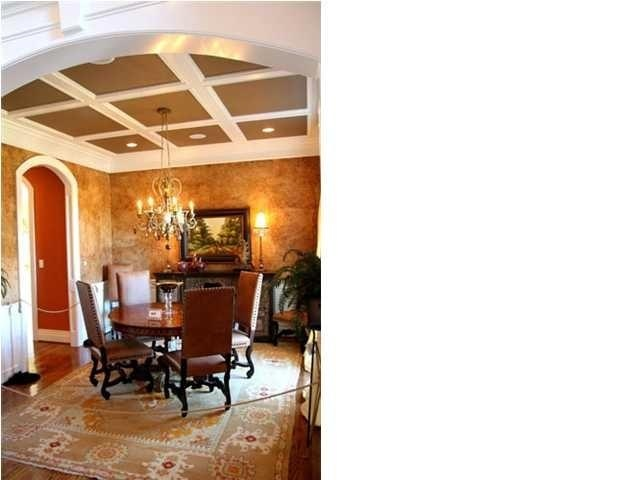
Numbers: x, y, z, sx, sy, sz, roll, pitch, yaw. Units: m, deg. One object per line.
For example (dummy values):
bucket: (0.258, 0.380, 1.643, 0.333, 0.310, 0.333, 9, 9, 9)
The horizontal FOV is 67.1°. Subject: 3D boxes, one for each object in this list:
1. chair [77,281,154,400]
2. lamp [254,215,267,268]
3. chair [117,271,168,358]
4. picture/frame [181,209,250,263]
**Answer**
chair: (-1.078, 0.511, 2.577, 0.378, 0.538, 0.357, 1, 1, -24)
lamp: (-0.461, 0.003, 3.808, 0.099, 0.444, 0.166, 0, 2, -7)
chair: (-1.238, 0.454, 3.254, 0.322, 0.453, 0.294, 11, 14, 43)
picture/frame: (-0.813, -0.045, 3.881, 0.451, 0.348, 0.035, -1, -5, 9)
